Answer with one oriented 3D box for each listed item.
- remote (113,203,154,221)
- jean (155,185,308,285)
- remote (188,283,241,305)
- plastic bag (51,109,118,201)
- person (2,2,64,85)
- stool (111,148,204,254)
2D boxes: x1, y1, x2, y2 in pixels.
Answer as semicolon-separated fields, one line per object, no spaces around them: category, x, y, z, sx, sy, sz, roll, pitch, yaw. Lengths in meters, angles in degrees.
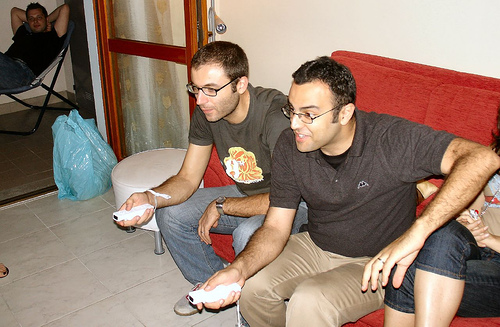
remote;-0.623;0.242;1.767;0.080;0.039;0.167;17;22;41
jean;-0.155;0.410;2.054;0.667;0.550;0.650;-18;65;-20
remote;-0.155;0.538;1.326;0.242;0.069;0.064;6;0;-32
plastic bag;-1.587;-0.069;3.243;0.454;0.799;0.628;10;21;6
person;-2.882;-1.679;4.483;0.820;0.849;1.055;-14;34;-23
stool;-0.701;0.302;2.745;0.803;0.584;0.779;-7;39;-7
